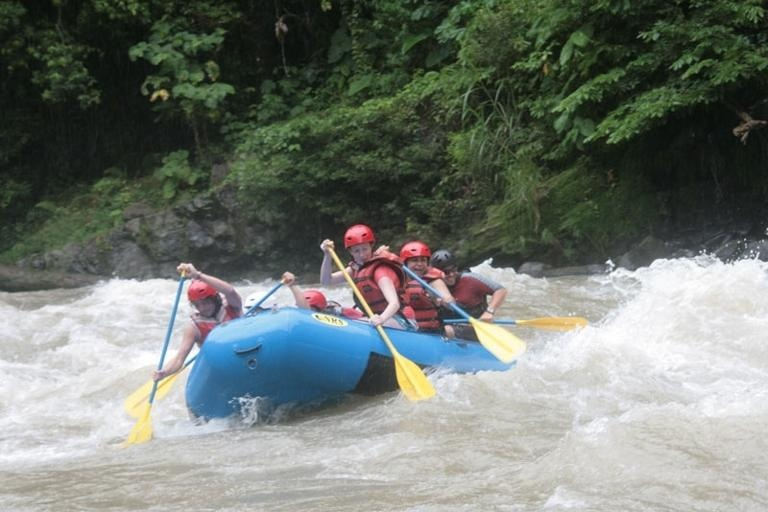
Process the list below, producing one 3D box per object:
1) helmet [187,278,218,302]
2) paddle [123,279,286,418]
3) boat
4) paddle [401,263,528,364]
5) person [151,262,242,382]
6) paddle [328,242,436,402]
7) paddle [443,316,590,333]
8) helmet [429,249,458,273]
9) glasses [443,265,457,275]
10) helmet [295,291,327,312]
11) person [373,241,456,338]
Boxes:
[{"bbox_3d":[-2.714,0.514,15.244,0.430,0.355,0.324,-1,3,-8],"label":"helmet"},{"bbox_3d":[-2.785,1.506,15.682,2.714,0.177,0.442,-42,44,-11],"label":"paddle"},{"bbox_3d":[-0.747,1.623,14.987,3.193,0.755,1.760,13,-19,-32],"label":"boat"},{"bbox_3d":[1.194,0.956,15.969,2.329,0.410,0.155,39,-5,30],"label":"paddle"},{"bbox_3d":[-2.968,0.950,15.409,1.323,0.941,2.164,-9,3,9],"label":"person"},{"bbox_3d":[-0.016,1.050,15.211,0.467,2.837,0.215,-38,-26,7],"label":"paddle"},{"bbox_3d":[2.057,1.095,16.131,2.367,0.264,0.199,3,6,12],"label":"paddle"},{"bbox_3d":[0.942,0.088,16.310,0.286,0.347,0.380,-5,-15,-9],"label":"helmet"},{"bbox_3d":[1.048,0.224,16.164,0.129,0.088,0.167,-23,-10,4],"label":"glasses"},{"bbox_3d":[-1.089,0.678,15.336,0.393,0.290,0.281,-2,8,-38],"label":"helmet"},{"bbox_3d":[0.462,0.577,15.668,0.987,2.059,1.015,-16,0,-8],"label":"person"}]
